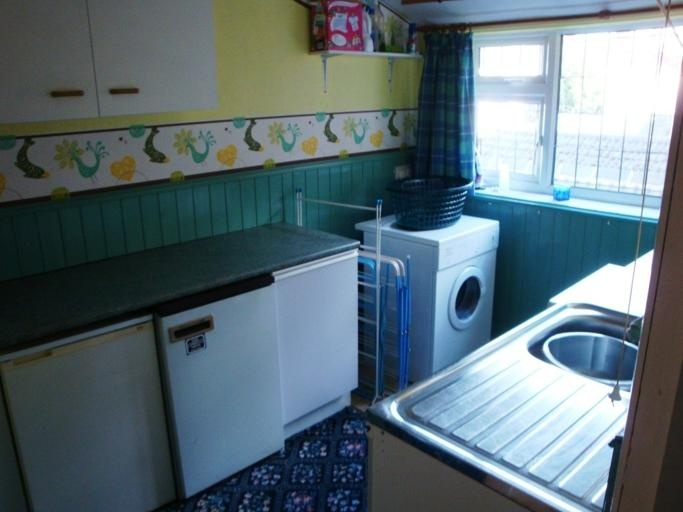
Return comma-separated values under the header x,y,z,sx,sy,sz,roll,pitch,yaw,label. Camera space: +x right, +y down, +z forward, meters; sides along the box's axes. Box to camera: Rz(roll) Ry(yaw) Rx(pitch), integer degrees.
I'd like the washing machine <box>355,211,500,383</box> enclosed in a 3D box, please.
x,y,z,sx,sy,sz,roll,pitch,yaw,label
0.742,0.043,3.882,0.991,1.584,1.030,14,26,34,washing machine

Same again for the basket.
x,y,z,sx,sy,sz,roll,pitch,yaw,label
0.646,-0.381,3.415,0.410,0.231,0.493,11,21,36,basket
